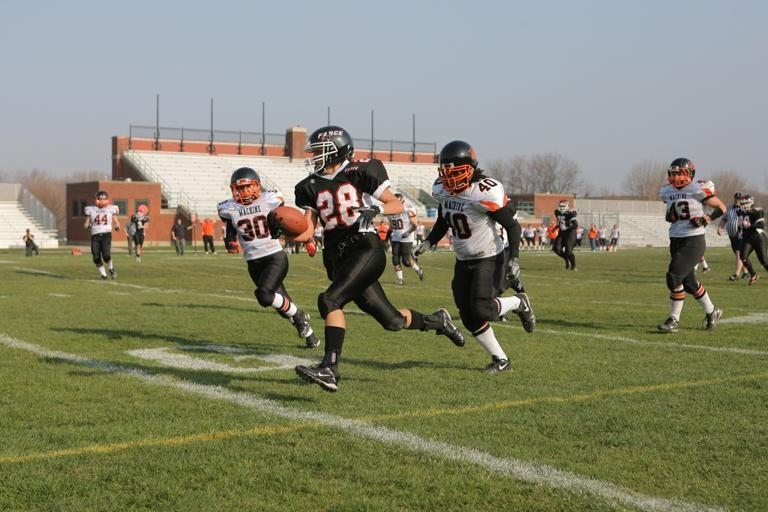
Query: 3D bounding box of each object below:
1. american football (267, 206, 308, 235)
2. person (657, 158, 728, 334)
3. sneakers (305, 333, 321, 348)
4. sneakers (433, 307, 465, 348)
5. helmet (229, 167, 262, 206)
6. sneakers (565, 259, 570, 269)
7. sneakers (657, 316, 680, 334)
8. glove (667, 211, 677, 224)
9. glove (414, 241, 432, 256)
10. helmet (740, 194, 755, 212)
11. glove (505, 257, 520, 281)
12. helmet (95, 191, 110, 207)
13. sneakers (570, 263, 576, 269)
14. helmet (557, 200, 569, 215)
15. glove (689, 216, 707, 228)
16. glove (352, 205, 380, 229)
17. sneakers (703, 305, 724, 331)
[{"bbox_3d":[-0.829,-0.297,6.646,0.243,0.181,0.303,8,-8,-26],"label":"american football"},{"bbox_3d":[3.918,-0.140,9.895,0.823,2.197,1.458,4,10,19],"label":"person"},{"bbox_3d":[-0.762,0.912,8.261,0.124,0.188,0.198,-14,-14,9],"label":"sneakers"},{"bbox_3d":[0.690,0.779,8.204,0.162,0.492,0.222,-24,21,45],"label":"sneakers"},{"bbox_3d":[-1.665,-0.815,8.914,0.347,0.356,0.450,-10,17,2],"label":"helmet"},{"bbox_3d":[5.083,0.220,21.359,0.088,0.239,0.241,-4,1,9],"label":"sneakers"},{"bbox_3d":[3.508,0.857,9.547,0.136,0.163,0.394,-4,-8,44],"label":"sneakers"},{"bbox_3d":[3.802,-0.490,10.144,0.143,0.110,0.151,-6,-37,48],"label":"glove"},{"bbox_3d":[0.396,-0.053,7.690,0.162,0.072,0.120,-34,31,-9],"label":"glove"},{"bbox_3d":[8.054,-1.169,17.168,0.446,0.353,0.337,4,-6,-45],"label":"helmet"},{"bbox_3d":[1.235,0.116,7.383,0.151,0.193,0.202,0,-10,6],"label":"glove"},{"bbox_3d":[-5.703,-1.134,15.596,0.212,0.349,0.636,-4,10,-24],"label":"helmet"},{"bbox_3d":[5.183,0.262,21.143,0.131,0.148,0.209,5,-12,12],"label":"sneakers"},{"bbox_3d":[4.851,-1.330,20.911,0.287,0.359,0.584,3,9,14],"label":"helmet"},{"bbox_3d":[4.007,-0.433,9.809,0.080,0.125,0.184,-41,-14,30],"label":"glove"},{"bbox_3d":[-0.124,-0.337,6.736,0.225,0.199,0.158,-8,12,-42],"label":"glove"},{"bbox_3d":[4.171,0.808,9.794,0.224,0.416,0.145,13,-12,-3],"label":"sneakers"}]
